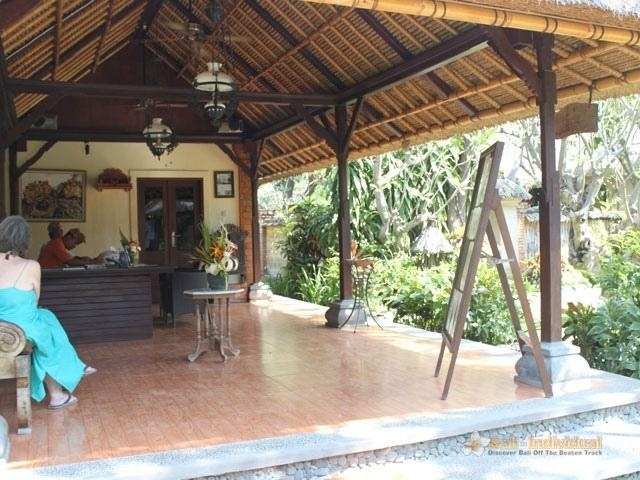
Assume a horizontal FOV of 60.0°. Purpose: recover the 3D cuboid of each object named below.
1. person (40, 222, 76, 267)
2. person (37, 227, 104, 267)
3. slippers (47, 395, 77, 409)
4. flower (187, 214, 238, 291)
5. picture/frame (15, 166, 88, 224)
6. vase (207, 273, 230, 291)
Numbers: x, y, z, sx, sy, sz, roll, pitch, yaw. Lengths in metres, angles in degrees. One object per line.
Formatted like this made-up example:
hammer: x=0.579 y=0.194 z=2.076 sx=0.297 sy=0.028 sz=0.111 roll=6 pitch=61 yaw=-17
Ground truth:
person: x=-3.839 y=0.190 z=8.035 sx=0.478 sy=0.843 sz=0.436 roll=4 pitch=-23 yaw=-23
person: x=-3.642 y=0.071 z=8.039 sx=0.717 sy=0.551 sz=0.567 roll=1 pitch=4 yaw=-18
slippers: x=-2.357 y=1.501 z=5.114 sx=0.084 sy=0.068 sz=0.233 roll=1 pitch=-2 yaw=14
flower: x=-1.240 y=0.212 z=6.606 sx=0.448 sy=0.808 sz=0.624 roll=-1 pitch=3 yaw=-16
picture/frame: x=-5.575 y=-0.918 z=11.383 sx=1.192 sy=1.079 sz=0.117 roll=1 pitch=2 yaw=-15
vase: x=-1.211 y=0.506 z=6.604 sx=0.205 sy=0.163 sz=0.189 roll=0 pitch=-1 yaw=11
